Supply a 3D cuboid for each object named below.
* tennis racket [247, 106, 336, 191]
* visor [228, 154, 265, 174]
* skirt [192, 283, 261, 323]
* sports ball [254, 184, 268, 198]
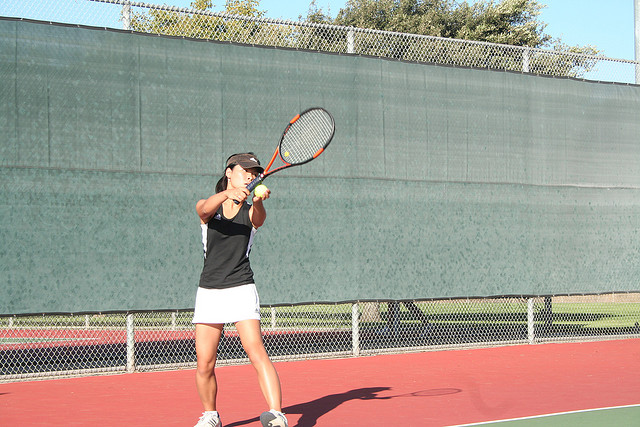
[{"bbox_3d":[-0.384,-0.773,8.780,1.787,0.524,0.128,-44,-1,-29],"label":"tennis racket"},{"bbox_3d":[-0.826,-0.550,7.889,0.383,0.212,0.182,-1,1,-9],"label":"visor"},{"bbox_3d":[-1.025,0.979,7.776,0.704,0.408,0.162,-1,1,-3],"label":"skirt"},{"bbox_3d":[-0.640,-0.242,7.611,0.121,0.142,0.242,-1,1,-10],"label":"sports ball"}]
